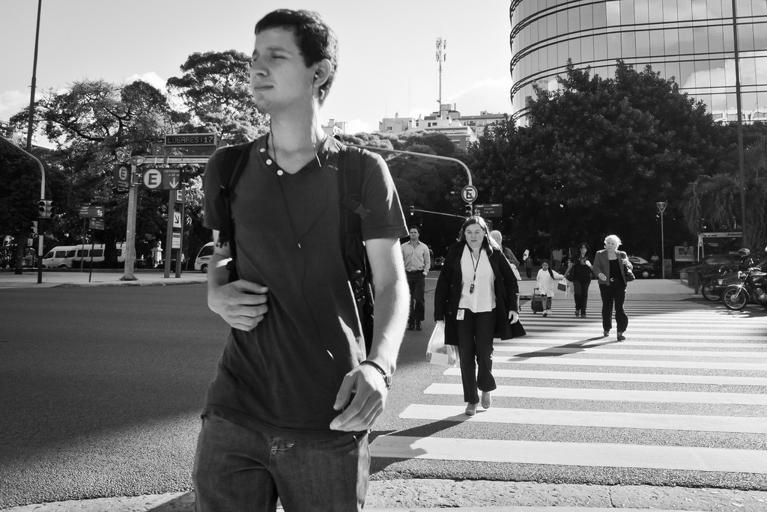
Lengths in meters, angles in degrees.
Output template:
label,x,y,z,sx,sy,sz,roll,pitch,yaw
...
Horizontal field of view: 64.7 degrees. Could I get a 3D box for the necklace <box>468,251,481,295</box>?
label,x,y,z,sx,sy,sz,roll,pitch,yaw
necklace,1.174,0.244,7.741,0.119,0.041,0.564,3,48,13

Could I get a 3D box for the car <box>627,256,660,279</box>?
label,x,y,z,sx,sy,sz,roll,pitch,yaw
car,18.944,0.879,43.620,2.091,1.228,1.323,4,-1,11

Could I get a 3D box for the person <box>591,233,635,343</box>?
label,x,y,z,sx,sy,sz,roll,pitch,yaw
person,5.085,0.676,13.342,0.763,2.230,1.092,0,1,26

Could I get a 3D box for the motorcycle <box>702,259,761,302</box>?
label,x,y,z,sx,sy,sz,roll,pitch,yaw
motorcycle,12.462,0.901,21.516,2.199,1.533,1.266,-6,-1,7

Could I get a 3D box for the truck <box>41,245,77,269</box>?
label,x,y,z,sx,sy,sz,roll,pitch,yaw
truck,-30.145,0.169,56.311,2.743,1.706,2.077,1,0,21

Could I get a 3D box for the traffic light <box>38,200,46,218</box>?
label,x,y,z,sx,sy,sz,roll,pitch,yaw
traffic light,-16.034,-2.208,28.583,0.318,0.807,0.722,-1,1,-41

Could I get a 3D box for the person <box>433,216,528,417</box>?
label,x,y,z,sx,sy,sz,roll,pitch,yaw
person,1.217,0.700,7.797,0.974,2.412,0.707,-1,1,-32

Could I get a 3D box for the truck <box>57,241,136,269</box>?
label,x,y,z,sx,sy,sz,roll,pitch,yaw
truck,-24.057,0.001,50.690,5.821,2.127,2.145,1,-4,5

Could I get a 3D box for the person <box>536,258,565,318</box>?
label,x,y,z,sx,sy,sz,roll,pitch,yaw
person,5.117,0.953,18.594,0.648,1.567,2.259,0,1,16
